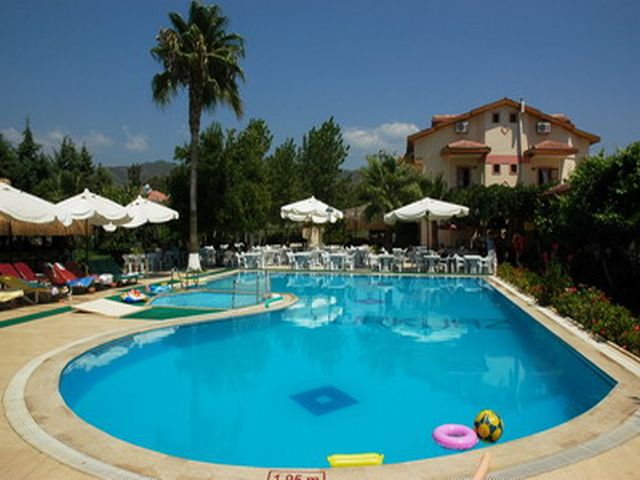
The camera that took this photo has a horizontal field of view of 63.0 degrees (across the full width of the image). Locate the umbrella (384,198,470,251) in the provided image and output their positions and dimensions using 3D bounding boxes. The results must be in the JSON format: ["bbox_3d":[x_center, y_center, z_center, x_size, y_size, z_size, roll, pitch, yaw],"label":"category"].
[{"bbox_3d":[5.342,-0.015,26.271,3.135,2.550,3.516,-3,8,-2],"label":"umbrella"}]

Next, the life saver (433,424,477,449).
[{"bbox_3d":[2.829,4.184,10.980,0.924,0.260,0.594,5,14,20],"label":"life saver"}]

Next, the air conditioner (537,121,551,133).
[{"bbox_3d":[15.106,-7.619,35.514,0.661,0.826,0.549,2,-8,4],"label":"air conditioner"}]

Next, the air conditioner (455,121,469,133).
[{"bbox_3d":[9.704,-7.775,35.728,0.640,0.794,0.731,2,12,10],"label":"air conditioner"}]

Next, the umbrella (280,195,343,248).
[{"bbox_3d":[-0.442,-0.849,30.132,2.756,3.563,4.796,0,12,1],"label":"umbrella"}]

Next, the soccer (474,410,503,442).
[{"bbox_3d":[3.558,3.981,11.029,0.588,0.524,0.406,5,13,20],"label":"soccer"}]
